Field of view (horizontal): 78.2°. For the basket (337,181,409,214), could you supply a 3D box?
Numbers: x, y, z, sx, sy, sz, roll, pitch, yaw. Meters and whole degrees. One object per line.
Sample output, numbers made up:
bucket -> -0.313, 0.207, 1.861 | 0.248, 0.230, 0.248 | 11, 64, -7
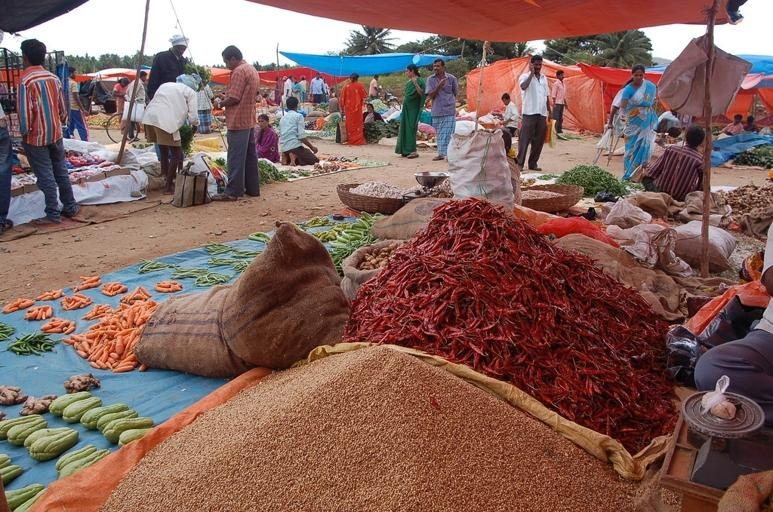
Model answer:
basket -> -0.316, -0.719, 6.365 | 0.982, 0.499, 0.828 | 11, 19, 33
